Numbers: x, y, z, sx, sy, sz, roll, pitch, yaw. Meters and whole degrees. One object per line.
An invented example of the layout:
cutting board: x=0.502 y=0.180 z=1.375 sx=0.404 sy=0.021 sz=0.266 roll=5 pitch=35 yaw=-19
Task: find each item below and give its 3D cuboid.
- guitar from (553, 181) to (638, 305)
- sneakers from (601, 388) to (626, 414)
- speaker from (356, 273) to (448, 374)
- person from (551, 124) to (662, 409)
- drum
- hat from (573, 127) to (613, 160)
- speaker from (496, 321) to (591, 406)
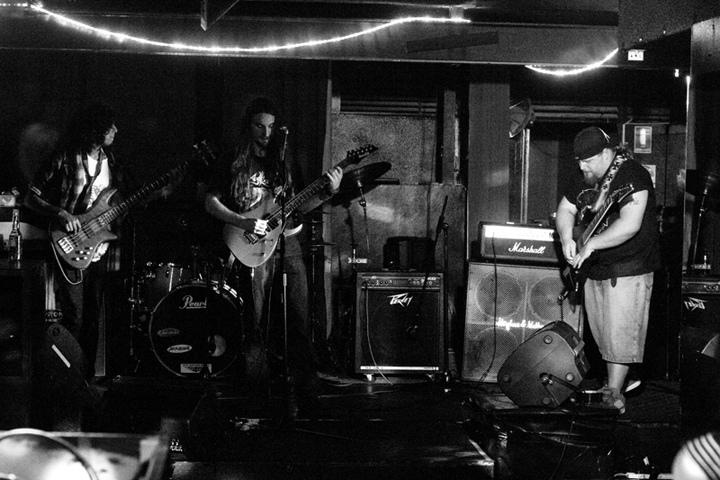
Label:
guitar: x=1.665 y=0.128 z=6.245 sx=0.187 sy=0.222 sz=1.467 roll=16 pitch=-42 yaw=-18
sneakers: x=1.714 y=1.098 z=5.564 sx=0.107 sy=0.137 sz=0.309 roll=-15 pitch=-36 yaw=19
speaker: x=0.318 y=0.673 z=7.013 sx=0.784 sy=1.000 sz=0.756 roll=0 pitch=-4 yaw=1
person: x=1.777 y=0.224 z=5.968 sx=0.705 sy=2.048 sz=0.647 roll=5 pitch=9 yaw=29
drum: x=-1.357 y=0.650 z=6.806 sx=0.790 sy=0.866 sz=0.469 roll=-2 pitch=27 yaw=-11
hat: x=1.723 y=-0.704 z=6.022 sx=0.325 sy=0.284 sz=0.259 roll=3 pitch=11 yaw=14
speaker: x=1.217 y=0.832 z=5.331 sx=0.590 sy=0.506 sz=0.265 roll=-3 pitch=9 yaw=-22
